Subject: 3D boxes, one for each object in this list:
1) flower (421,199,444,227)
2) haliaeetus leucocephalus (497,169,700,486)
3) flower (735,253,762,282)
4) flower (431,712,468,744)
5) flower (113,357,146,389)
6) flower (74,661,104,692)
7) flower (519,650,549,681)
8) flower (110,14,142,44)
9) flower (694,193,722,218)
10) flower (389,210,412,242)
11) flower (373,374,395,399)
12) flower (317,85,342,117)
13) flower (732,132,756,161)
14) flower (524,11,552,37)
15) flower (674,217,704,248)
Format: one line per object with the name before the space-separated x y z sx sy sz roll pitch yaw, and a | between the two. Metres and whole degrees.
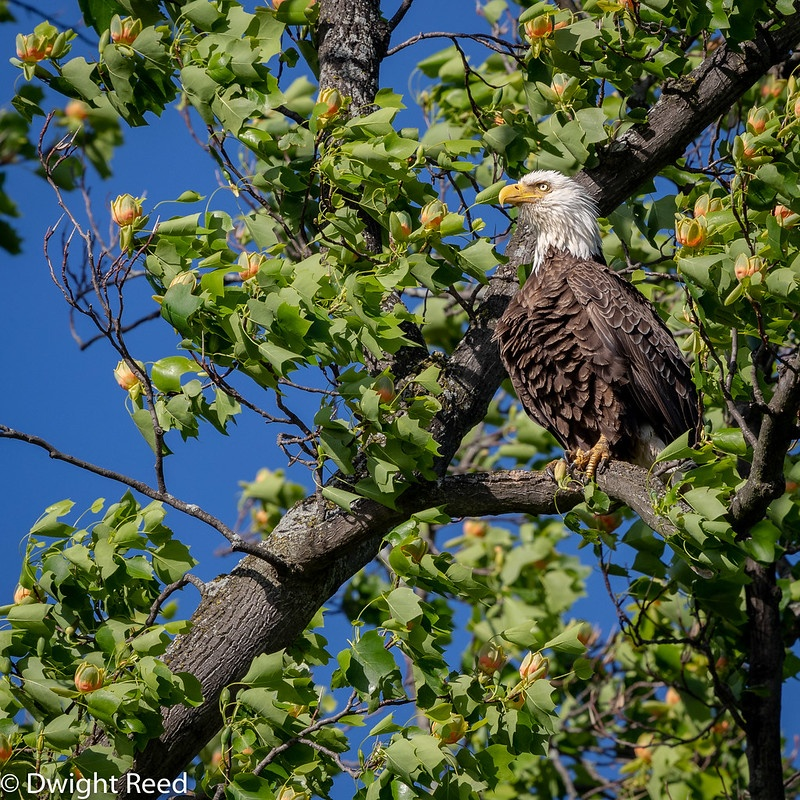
flower | 0.115 -0.672 6.459 0.094 0.113 0.089 1 -46 8
haliaeetus leucocephalus | 0.859 -0.426 8.258 0.698 1.254 1.003 -19 -52 25
flower | 1.199 -0.463 6.307 0.100 0.094 0.094 5 -3 -15
flower | 0.181 1.127 6.283 0.108 0.052 0.107 41 -97 -23
flower | -1.000 -0.109 6.724 0.109 0.087 0.095 -24 -54 28
flower | -1.051 0.949 6.290 0.095 0.104 0.095 -4 -34 15
flower | 0.470 0.923 6.354 0.093 0.106 0.113 5 -45 4
flower | -1.009 -1.370 6.719 0.115 0.108 0.118 3 -84 -6
flower | 1.115 -0.699 6.557 0.099 0.133 0.084 3 -46 7
flower | 0.001 -0.619 6.402 0.082 0.100 0.096 0 -6 3
flower | -0.052 -0.058 6.366 0.084 0.098 0.077 0 -4 -6
flower | -0.249 -1.082 6.572 0.098 0.104 0.113 0 -84 -12
flower | 1.205 -0.901 6.435 0.081 0.080 0.055 -6 -26 -26
flower | 0.520 -1.412 6.822 0.104 0.061 0.095 -5 -46 12
flower | 1.025 -0.591 6.379 0.110 0.098 0.116 -5 -86 -21
